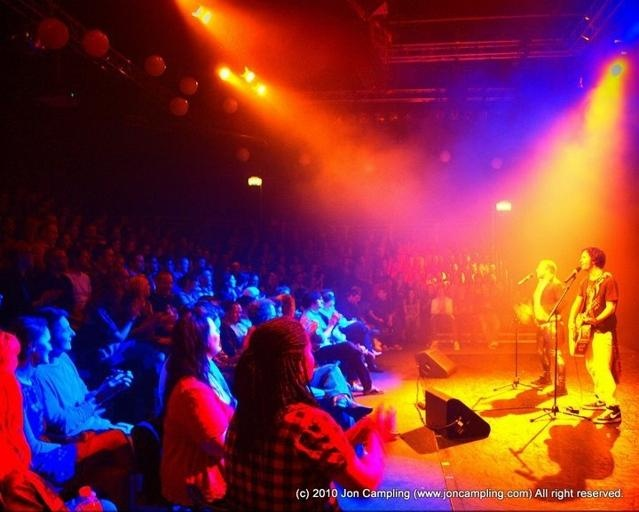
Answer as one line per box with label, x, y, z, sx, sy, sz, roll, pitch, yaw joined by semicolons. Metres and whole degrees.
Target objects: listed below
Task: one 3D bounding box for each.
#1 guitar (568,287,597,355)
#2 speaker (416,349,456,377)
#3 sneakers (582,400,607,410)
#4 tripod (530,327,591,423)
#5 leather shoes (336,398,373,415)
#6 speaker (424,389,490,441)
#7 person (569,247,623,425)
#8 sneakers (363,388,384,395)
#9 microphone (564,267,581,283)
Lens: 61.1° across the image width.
guitar;3.100;0.787;6.371;0.129;0.482;1.036;5;-17;16
speaker;1.683;1.574;7.922;0.387;0.295;0.425;-5;-4;29
sneakers;3.239;1.749;6.386;0.086;0.122;0.269;5;-10;-25
tripod;3.084;1.547;6.913;0.773;1.386;0.678;2;-7;-19
leather shoes;0.356;1.599;5.740;0.429;0.227;0.163;0;19;11
speaker;1.459;1.731;5.795;0.462;0.389;0.493;-4;-4;-17
person;3.195;0.942;6.290;0.542;1.912;0.791;-6;-26;25
sneakers;0.719;1.793;7.221;0.267;0.131;0.100;-3;-7;-1
microphone;4.064;0.302;8.681;0.087;0.433;0.090;-2;-60;41
